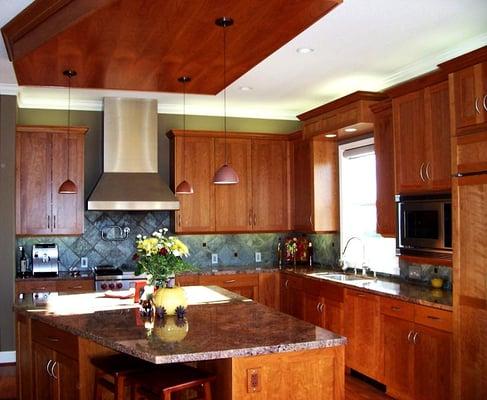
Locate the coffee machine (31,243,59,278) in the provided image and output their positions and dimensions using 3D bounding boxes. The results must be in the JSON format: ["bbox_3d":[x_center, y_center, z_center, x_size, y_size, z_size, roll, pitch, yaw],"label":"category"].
[{"bbox_3d":[-2.632,0.762,5.574,0.331,0.463,0.253,2,16,-16],"label":"coffee machine"}]

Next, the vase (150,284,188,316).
[{"bbox_3d":[-0.562,0.757,3.200,0.262,0.248,0.269,-1,10,-10],"label":"vase"}]

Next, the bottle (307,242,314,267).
[{"bbox_3d":[1.021,0.801,6.350,0.084,0.368,0.239,-1,-2,16],"label":"bottle"}]

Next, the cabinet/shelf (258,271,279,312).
[{"bbox_3d":[0.364,1.272,5.879,0.308,0.535,0.109,0,-2,0],"label":"cabinet/shelf"}]

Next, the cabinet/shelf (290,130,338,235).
[{"bbox_3d":[0.980,-0.218,5.927,0.710,1.367,0.396,-1,-2,24],"label":"cabinet/shelf"}]

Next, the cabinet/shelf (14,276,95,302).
[{"bbox_3d":[-2.365,1.084,5.242,0.938,0.216,0.143,0,-2,-15],"label":"cabinet/shelf"}]

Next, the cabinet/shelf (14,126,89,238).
[{"bbox_3d":[-2.543,-0.216,5.639,0.889,1.497,0.439,1,5,-15],"label":"cabinet/shelf"}]

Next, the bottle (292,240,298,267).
[{"bbox_3d":[0.772,0.793,6.260,0.066,0.377,0.181,-1,-2,6],"label":"bottle"}]

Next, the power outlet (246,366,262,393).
[{"bbox_3d":[0.060,1.067,2.466,0.084,0.152,0.038,0,-2,-5],"label":"power outlet"}]

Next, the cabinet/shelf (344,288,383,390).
[{"bbox_3d":[1.350,1.413,4.495,0.545,0.854,0.505,-8,-14,23],"label":"cabinet/shelf"}]

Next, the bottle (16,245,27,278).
[{"bbox_3d":[-2.874,0.797,5.435,0.125,0.371,0.386,1,-2,-28],"label":"bottle"}]

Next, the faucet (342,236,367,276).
[{"bbox_3d":[1.409,0.719,5.393,0.344,0.158,0.481,13,-32,13],"label":"faucet"}]

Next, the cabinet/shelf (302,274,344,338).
[{"bbox_3d":[0.850,1.314,4.964,0.756,0.656,0.282,24,-34,-34],"label":"cabinet/shelf"}]

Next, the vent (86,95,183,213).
[{"bbox_3d":[-1.547,-0.591,5.763,1.198,1.576,1.124,-1,-5,-18],"label":"vent"}]

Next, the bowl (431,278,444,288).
[{"bbox_3d":[1.925,0.818,4.155,0.094,0.067,0.096,0,-1,0],"label":"bowl"}]

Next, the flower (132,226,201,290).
[{"bbox_3d":[-0.670,0.512,3.264,0.368,0.400,0.343,-10,-9,8],"label":"flower"}]

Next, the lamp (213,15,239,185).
[{"bbox_3d":[-0.171,-0.896,3.912,0.290,1.549,0.290,-2,-2,9],"label":"lamp"}]

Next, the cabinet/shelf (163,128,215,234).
[{"bbox_3d":[-0.660,-0.198,6.047,0.683,1.518,0.375,-1,-10,-2],"label":"cabinet/shelf"}]

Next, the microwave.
[{"bbox_3d":[1.673,0.259,4.062,0.649,0.576,0.315,2,-3,-15],"label":"microwave"}]
